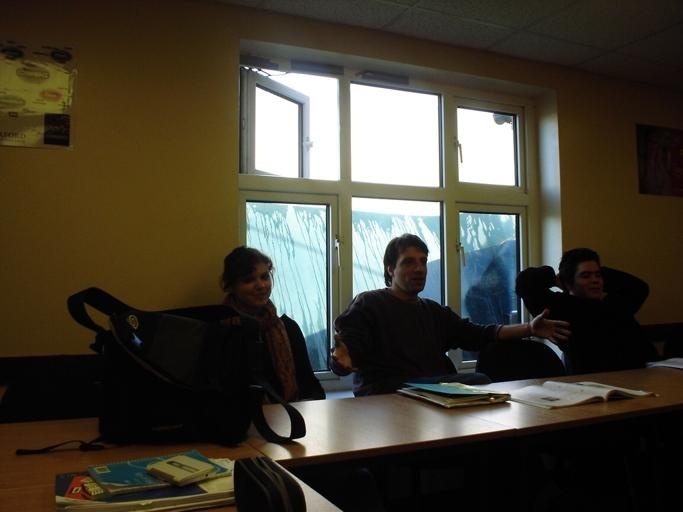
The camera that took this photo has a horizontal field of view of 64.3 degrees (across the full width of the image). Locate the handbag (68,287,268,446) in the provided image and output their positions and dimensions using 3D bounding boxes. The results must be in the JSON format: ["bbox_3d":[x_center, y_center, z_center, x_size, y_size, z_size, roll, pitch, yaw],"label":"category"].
[{"bbox_3d":[-0.650,0.419,2.065,0.684,0.610,0.550,-5,-13,12],"label":"handbag"}]

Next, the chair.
[{"bbox_3d":[0.987,0.586,3.026,0.283,0.382,0.317,1,-14,-8],"label":"chair"}]

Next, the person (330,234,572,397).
[{"bbox_3d":[0.622,0.363,3.330,0.907,0.846,0.497,6,-33,-31],"label":"person"}]
